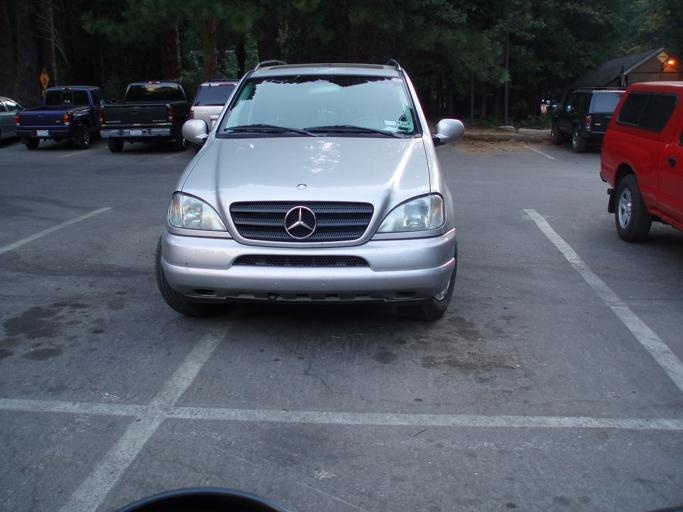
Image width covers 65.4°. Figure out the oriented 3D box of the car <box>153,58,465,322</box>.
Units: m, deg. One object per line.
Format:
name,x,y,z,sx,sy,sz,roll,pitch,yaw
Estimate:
car,-0.157,-1.032,5.938,1.872,1.717,3.612,0,11,3
